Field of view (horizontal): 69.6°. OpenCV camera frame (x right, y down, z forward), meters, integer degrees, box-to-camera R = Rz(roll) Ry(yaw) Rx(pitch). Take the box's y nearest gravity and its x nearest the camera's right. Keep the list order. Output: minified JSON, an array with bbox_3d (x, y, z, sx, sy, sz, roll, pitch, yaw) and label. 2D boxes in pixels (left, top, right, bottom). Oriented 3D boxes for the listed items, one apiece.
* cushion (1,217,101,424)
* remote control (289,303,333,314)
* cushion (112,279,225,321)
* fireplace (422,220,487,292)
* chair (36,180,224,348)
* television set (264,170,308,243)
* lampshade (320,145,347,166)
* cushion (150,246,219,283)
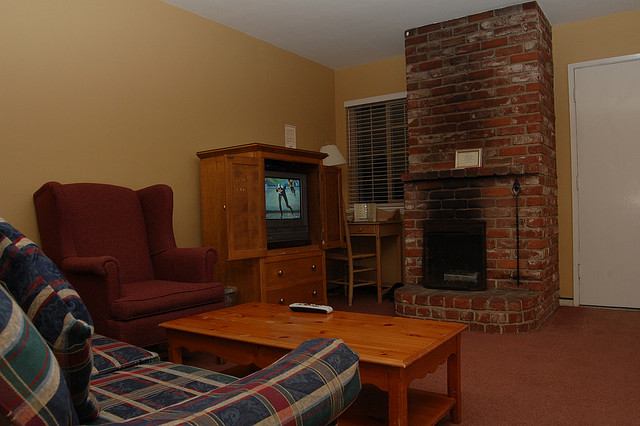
[{"bbox_3d":[-1.007,0.399,1.749,0.276,0.496,0.782,-3,10,-31],"label":"cushion"},{"bbox_3d":[-0.051,0.628,3.049,0.192,0.036,0.102,0,-2,23],"label":"remote control"},{"bbox_3d":[-1.175,0.653,3.540,0.847,0.171,0.280,-5,6,-45],"label":"cushion"},{"bbox_3d":[1.487,0.439,5.038,0.808,0.745,0.478,-1,0,42],"label":"fireplace"},{"bbox_3d":[-1.456,0.354,4.027,1.369,1.457,1.273,-4,-3,40],"label":"chair"},{"bbox_3d":[-0.363,-0.061,4.687,0.311,0.749,0.792,-4,-2,32],"label":"television set"},{"bbox_3d":[0.157,-0.701,5.711,0.278,0.170,0.247,-21,6,-20],"label":"lampshade"},{"bbox_3d":[-1.199,0.429,3.918,0.676,0.291,0.217,1,6,31],"label":"cushion"}]
